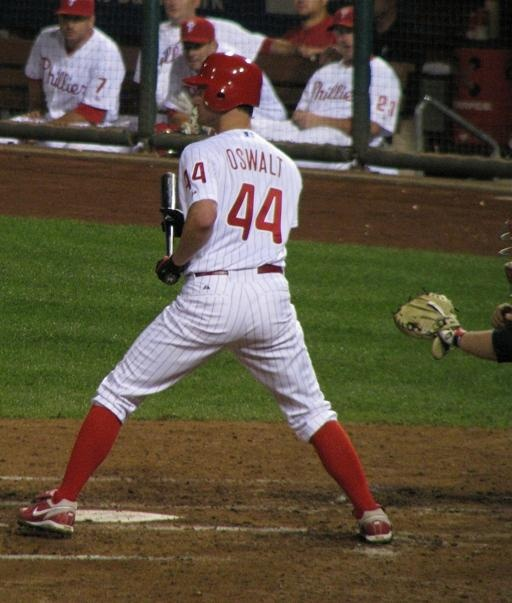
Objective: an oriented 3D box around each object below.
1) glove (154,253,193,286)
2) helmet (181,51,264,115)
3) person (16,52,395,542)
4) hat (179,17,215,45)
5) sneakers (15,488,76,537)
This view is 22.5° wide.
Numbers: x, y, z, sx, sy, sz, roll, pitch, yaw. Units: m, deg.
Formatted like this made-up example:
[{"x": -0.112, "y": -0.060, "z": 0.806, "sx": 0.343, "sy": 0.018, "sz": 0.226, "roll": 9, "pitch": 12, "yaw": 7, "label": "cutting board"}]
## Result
[{"x": -0.347, "y": -0.136, "z": 5.231, "sx": 0.067, "sy": 0.085, "sz": 0.147, "roll": 49, "pitch": -22, "yaw": -28, "label": "glove"}, {"x": -0.115, "y": -0.879, "z": 5.215, "sx": 0.315, "sy": 0.223, "sz": 0.213, "roll": 12, "pitch": 0, "yaw": 4, "label": "helmet"}, {"x": -0.142, "y": -0.001, "z": 5.198, "sx": 1.419, "sy": 1.912, "sz": 0.555, "roll": 4, "pitch": 12, "yaw": -7, "label": "person"}, {"x": -0.393, "y": -1.791, "z": 8.606, "sx": 0.164, "sy": 0.114, "sz": 0.228, "roll": 1, "pitch": 6, "yaw": 13, "label": "hat"}, {"x": -0.824, "y": 0.843, "z": 5.232, "sx": 0.310, "sy": 0.177, "sz": 0.115, "roll": 4, "pitch": -14, "yaw": 23, "label": "sneakers"}]
